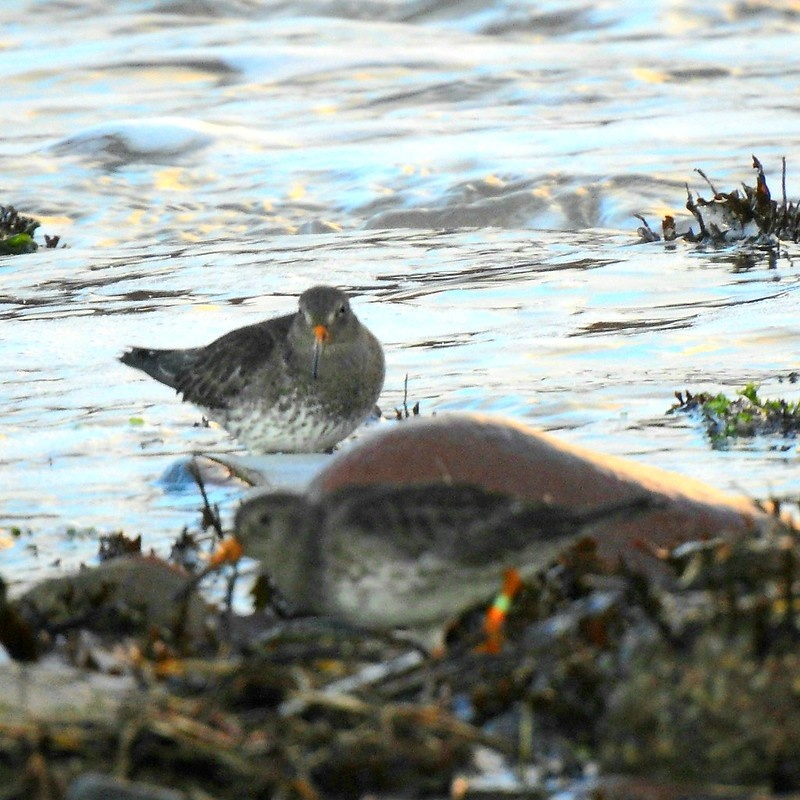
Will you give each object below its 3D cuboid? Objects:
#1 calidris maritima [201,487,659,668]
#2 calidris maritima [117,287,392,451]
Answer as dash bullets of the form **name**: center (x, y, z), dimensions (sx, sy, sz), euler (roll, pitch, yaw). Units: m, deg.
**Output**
- **calidris maritima**: center (0.224, 0.381, 3.304), dimensions (1.425, 0.439, 0.379), euler (-7, 8, 6)
- **calidris maritima**: center (-0.834, -0.216, 7.378), dimensions (0.667, 0.897, 1.590), euler (-16, 17, -39)
